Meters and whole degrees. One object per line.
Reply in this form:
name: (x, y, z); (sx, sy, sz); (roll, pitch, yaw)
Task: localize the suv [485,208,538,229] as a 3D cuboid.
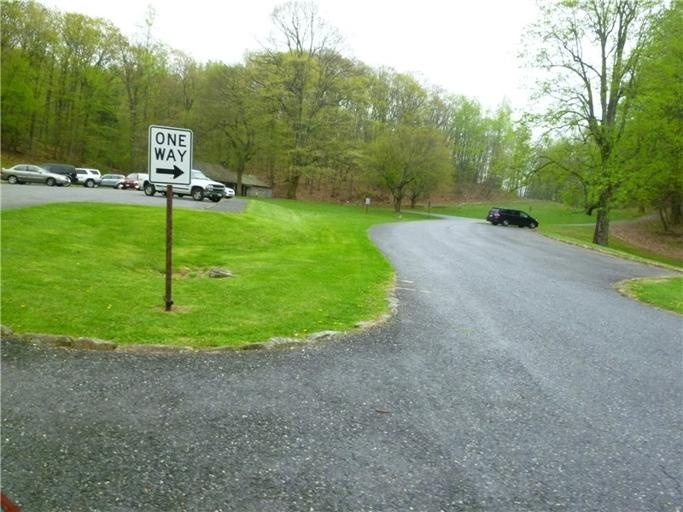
suv: (15.590, -3.307, 47.879); (3.562, 1.486, 2.015); (-1, 9, -2)

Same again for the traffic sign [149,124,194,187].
traffic sign: (-3.303, -1.848, 10.086); (0.766, 1.088, 0.436); (1, 10, -20)
